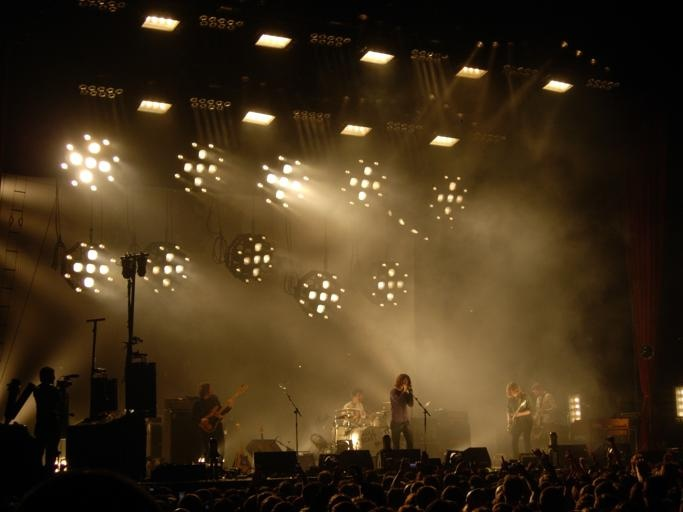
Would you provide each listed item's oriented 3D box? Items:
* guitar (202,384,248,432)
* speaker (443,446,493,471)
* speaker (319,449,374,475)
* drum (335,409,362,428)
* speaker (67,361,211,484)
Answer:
[{"bbox_3d":[-2.880,3.701,20.869,0.555,1.725,0.175,43,-31,-5],"label":"guitar"},{"bbox_3d":[2.326,3.706,15.723,0.463,0.501,0.696,-2,-12,14],"label":"speaker"},{"bbox_3d":[0.102,3.773,15.708,0.808,0.587,0.612,1,-20,-3],"label":"speaker"},{"bbox_3d":[0.189,3.776,20.045,0.414,0.294,0.426,2,-13,0],"label":"drum"},{"bbox_3d":[-3.922,3.215,16.421,1.501,2.371,2.324,-3,-7,4],"label":"speaker"}]
